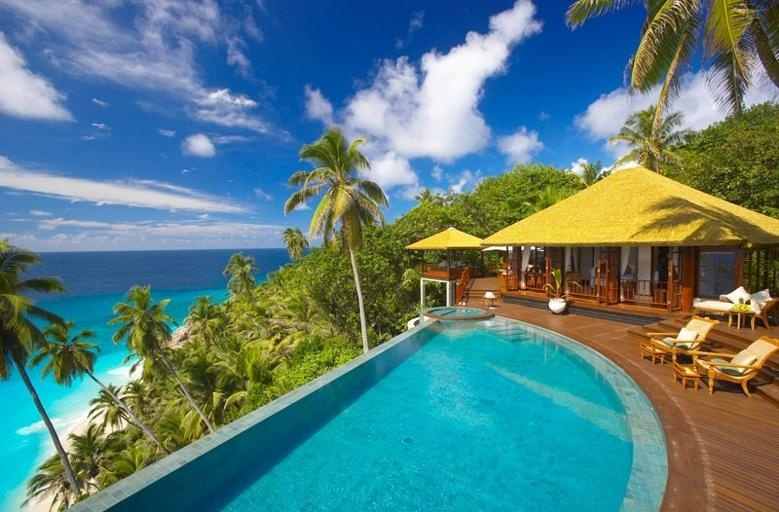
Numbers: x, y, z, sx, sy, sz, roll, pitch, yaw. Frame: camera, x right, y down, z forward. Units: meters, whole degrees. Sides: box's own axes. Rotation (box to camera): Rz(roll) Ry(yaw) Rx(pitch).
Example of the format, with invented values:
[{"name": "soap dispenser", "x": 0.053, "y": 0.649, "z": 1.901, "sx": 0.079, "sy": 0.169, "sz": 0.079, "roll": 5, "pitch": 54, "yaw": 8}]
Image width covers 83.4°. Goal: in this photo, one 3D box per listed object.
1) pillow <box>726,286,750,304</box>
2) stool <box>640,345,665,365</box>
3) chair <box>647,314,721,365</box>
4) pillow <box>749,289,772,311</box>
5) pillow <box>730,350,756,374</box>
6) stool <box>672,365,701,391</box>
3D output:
[{"name": "pillow", "x": 22.218, "y": 2.464, "z": 27.819, "sx": 1.294, "sy": 1.127, "sz": 1.048, "roll": -4, "pitch": -4, "yaw": -14}, {"name": "stool", "x": 15.982, "y": 5.840, "z": 26.810, "sx": 0.982, "sy": 1.248, "sz": 1.483, "roll": -5, "pitch": 7, "yaw": -1}, {"name": "chair", "x": 17.526, "y": 5.106, "z": 26.921, "sx": 4.102, "sy": 3.085, "sz": 2.508, "roll": -5, "pitch": 2, "yaw": 4}, {"name": "pillow", "x": 23.074, "y": 2.717, "z": 27.361, "sx": 1.191, "sy": 1.372, "sz": 0.651, "roll": -5, "pitch": -4, "yaw": 9}, {"name": "pillow", "x": 19.760, "y": 5.900, "z": 24.507, "sx": 1.262, "sy": 1.309, "sz": 0.803, "roll": -3, "pitch": -4, "yaw": -25}, {"name": "stool", "x": 17.249, "y": 6.748, "z": 25.468, "sx": 1.103, "sy": 1.270, "sz": 1.979, "roll": -1, "pitch": 2, "yaw": 27}]
